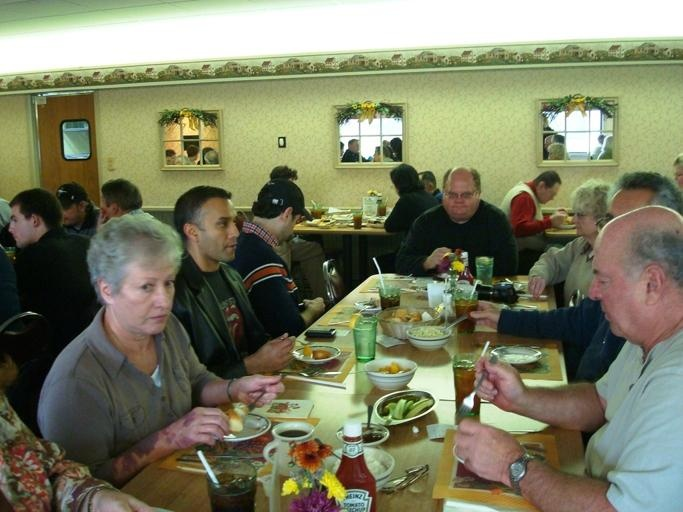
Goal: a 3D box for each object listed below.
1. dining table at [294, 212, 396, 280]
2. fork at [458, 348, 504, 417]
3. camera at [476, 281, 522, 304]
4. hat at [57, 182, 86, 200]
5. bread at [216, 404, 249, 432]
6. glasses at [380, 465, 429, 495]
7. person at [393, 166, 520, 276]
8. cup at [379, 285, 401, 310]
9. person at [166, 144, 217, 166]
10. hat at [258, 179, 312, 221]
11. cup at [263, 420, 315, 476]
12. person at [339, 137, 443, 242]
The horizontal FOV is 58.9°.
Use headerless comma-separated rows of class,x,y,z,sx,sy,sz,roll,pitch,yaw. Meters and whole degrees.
dining table,0.075,-0.133,6.882,0.907,0.774,0.856,0,5,7
fork,0.451,0.426,1.977,0.049,0.044,0.304,20,48,23
camera,0.823,0.202,3.236,0.168,0.088,0.152,1,9,26
hat,-2.200,-0.529,4.943,0.141,0.106,0.195,12,10,13
bread,-0.327,0.509,1.886,0.060,0.069,0.140,-4,9,-7
glasses,0.180,0.615,1.699,0.173,0.045,0.046,-13,52,-27
person,0.832,-0.188,4.191,1.189,0.862,0.716,2,8,17
cup,0.237,0.220,3.056,0.116,0.111,0.109,0,0,0
person,-2.086,-1.386,8.401,0.757,0.290,0.097,-1,11,11
hat,-0.308,-0.304,3.320,0.191,0.128,0.272,12,15,42
cup,-0.145,0.521,1.710,0.158,0.133,0.105,-15,23,-40
person,0.637,-0.670,6.295,0.706,1.158,0.764,20,27,36
